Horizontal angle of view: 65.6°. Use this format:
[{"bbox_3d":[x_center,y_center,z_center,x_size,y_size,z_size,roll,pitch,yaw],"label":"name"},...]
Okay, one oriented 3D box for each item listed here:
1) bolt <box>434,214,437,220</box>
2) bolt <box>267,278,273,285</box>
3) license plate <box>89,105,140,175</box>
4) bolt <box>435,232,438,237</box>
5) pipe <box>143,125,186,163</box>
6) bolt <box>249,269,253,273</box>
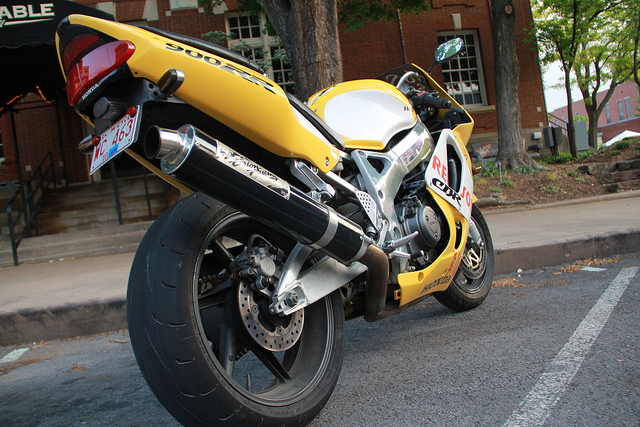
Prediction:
[{"bbox_3d":[0.971,0.025,4.186,0.007,0.026,0.017,-23,21,-17],"label":"bolt"},{"bbox_3d":[-0.343,0.463,3.425,0.010,0.032,0.032,5,52,23],"label":"bolt"},{"bbox_3d":[-1.280,-0.454,3.063,0.380,0.372,0.206,-3,14,11],"label":"license plate"},{"bbox_3d":[0.973,0.172,4.151,0.025,0.040,0.009,5,2,-12],"label":"bolt"},{"bbox_3d":[-0.971,-0.419,3.121,0.237,0.235,0.210,9,17,-37],"label":"pipe"},{"bbox_3d":[-0.473,0.385,3.375,0.025,0.028,0.009,5,2,-30],"label":"bolt"}]
